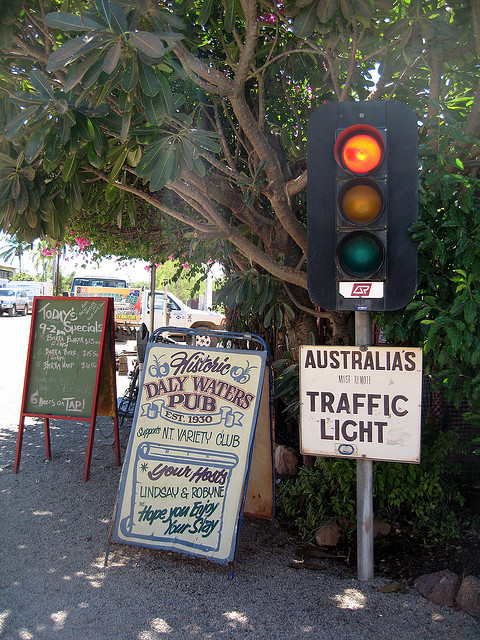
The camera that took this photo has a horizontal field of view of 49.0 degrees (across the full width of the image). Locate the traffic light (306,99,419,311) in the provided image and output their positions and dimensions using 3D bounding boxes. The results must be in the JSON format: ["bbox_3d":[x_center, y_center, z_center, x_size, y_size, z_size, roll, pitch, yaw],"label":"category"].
[{"bbox_3d":[0.647,-0.554,2.745,0.489,1.207,0.348,0,-19,15],"label":"traffic light"}]

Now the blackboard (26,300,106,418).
[{"bbox_3d":[-1.667,0.332,4.994,0.651,1.397,0.057,7,-38,-20],"label":"blackboard"}]

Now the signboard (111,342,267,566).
[{"bbox_3d":[-0.284,0.870,3.517,0.820,1.580,0.838,3,-20,9],"label":"signboard"}]

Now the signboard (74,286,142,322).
[{"bbox_3d":[-2.952,-0.407,12.527,1.098,0.833,0.286,3,4,14],"label":"signboard"}]

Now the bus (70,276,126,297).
[{"bbox_3d":[-5.684,-1.579,21.583,1.628,1.255,1.243,-1,3,6],"label":"bus"}]

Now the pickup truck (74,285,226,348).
[{"bbox_3d":[-3.330,0.489,19.425,5.157,2.581,2.308,4,-38,-14],"label":"pickup truck"}]

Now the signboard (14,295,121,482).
[{"bbox_3d":[-1.589,0.577,4.997,0.708,1.781,0.618,-3,-26,-8],"label":"signboard"}]

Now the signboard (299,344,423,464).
[{"bbox_3d":[0.678,0.453,2.879,0.478,0.614,0.060,0,-2,16],"label":"signboard"}]
